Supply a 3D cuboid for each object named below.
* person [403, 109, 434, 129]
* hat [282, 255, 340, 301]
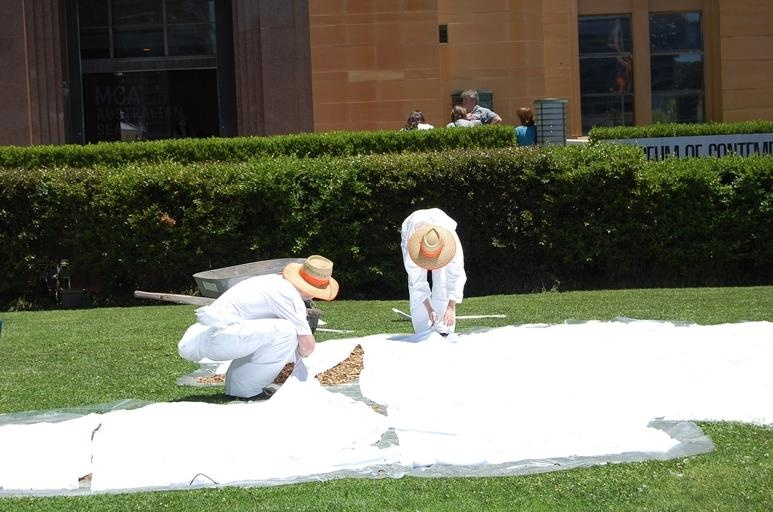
[{"bbox_3d":[0.646,-2.737,32.368,0.524,0.321,0.730,0,11,1],"label":"person"},{"bbox_3d":[-1.182,0.437,24.396,0.709,0.307,0.689,36,34,6],"label":"hat"}]
